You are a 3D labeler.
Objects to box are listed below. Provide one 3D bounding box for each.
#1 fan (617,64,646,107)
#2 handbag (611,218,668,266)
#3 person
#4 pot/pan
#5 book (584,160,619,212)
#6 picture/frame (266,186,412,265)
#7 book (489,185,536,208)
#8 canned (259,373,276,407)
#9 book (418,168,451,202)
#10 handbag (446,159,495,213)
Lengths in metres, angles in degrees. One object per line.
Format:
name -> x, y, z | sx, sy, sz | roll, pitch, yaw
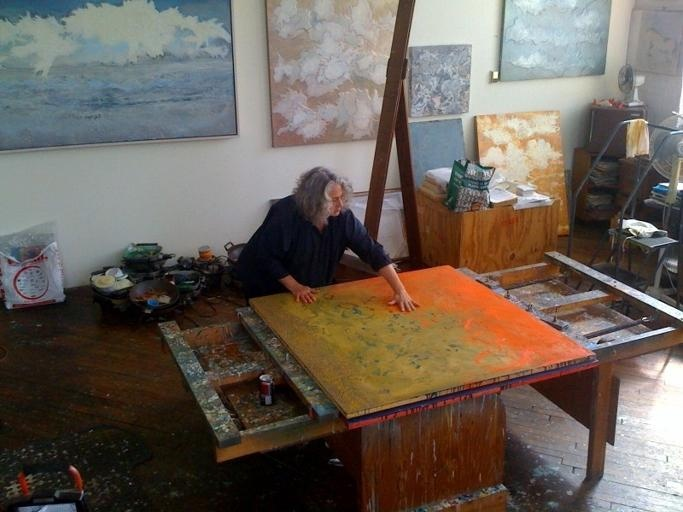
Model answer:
fan -> 3.437, -2.048, 6.141 | 0.294, 0.476, 0.646 | 9, 23, 27
handbag -> 2.834, -0.127, 4.955 | 0.322, 0.213, 0.455 | -8, 26, -13
person -> -0.088, -0.124, 3.232 | 0.934, 0.824, 0.426 | 0, 21, 6
pot/pan -> -1.683, 0.229, 4.919 | 1.285, 0.501, 1.024 | -9, 21, -19
book -> 3.145, -0.867, 6.256 | 0.380, 0.594, 0.212 | 0, 21, 7
picture/frame -> 0.152, -0.340, 5.725 | 1.045, 0.583, 0.994 | -1, 13, -11
book -> 1.663, -0.611, 5.125 | 0.357, 0.077, 0.311 | -7, 23, -19
canned -> -0.385, 0.669, 2.629 | 0.070, 0.144, 0.131 | -5, 20, -6
book -> 0.973, -0.737, 5.222 | 0.343, 0.158, 0.328 | -9, 24, -28
handbag -> 1.206, -0.691, 4.917 | 0.428, 0.480, 0.311 | 2, 21, 10
